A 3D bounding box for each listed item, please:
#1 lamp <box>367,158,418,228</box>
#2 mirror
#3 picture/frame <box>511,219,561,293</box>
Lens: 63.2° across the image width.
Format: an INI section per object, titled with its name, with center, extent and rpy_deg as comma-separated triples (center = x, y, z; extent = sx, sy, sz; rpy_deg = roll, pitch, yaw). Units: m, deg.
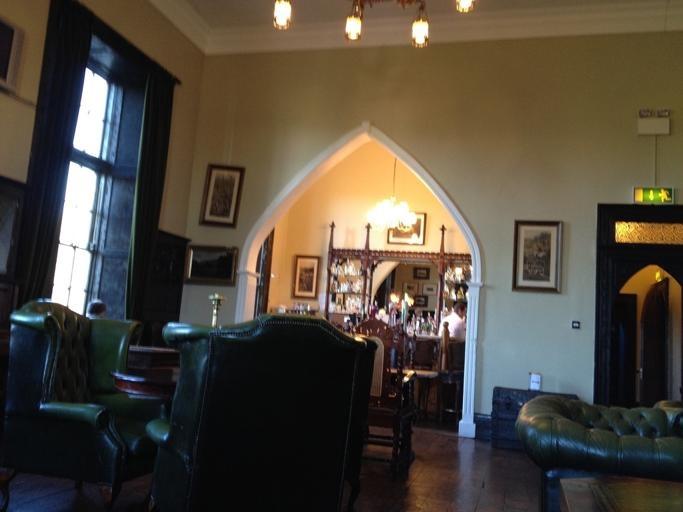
[lamp]
center = 1.045, -1.019, 11.229
extent = 0.705, 1.396, 0.785
rpy_deg = 3, 4, 12
[mirror]
center = 1.298, 0.818, 10.975
extent = 1.207, 1.490, 0.064
rpy_deg = 0, -4, 24
[picture/frame]
center = 2.944, 0.049, 8.331
extent = 0.862, 1.709, 0.061
rpy_deg = 1, -9, 10
